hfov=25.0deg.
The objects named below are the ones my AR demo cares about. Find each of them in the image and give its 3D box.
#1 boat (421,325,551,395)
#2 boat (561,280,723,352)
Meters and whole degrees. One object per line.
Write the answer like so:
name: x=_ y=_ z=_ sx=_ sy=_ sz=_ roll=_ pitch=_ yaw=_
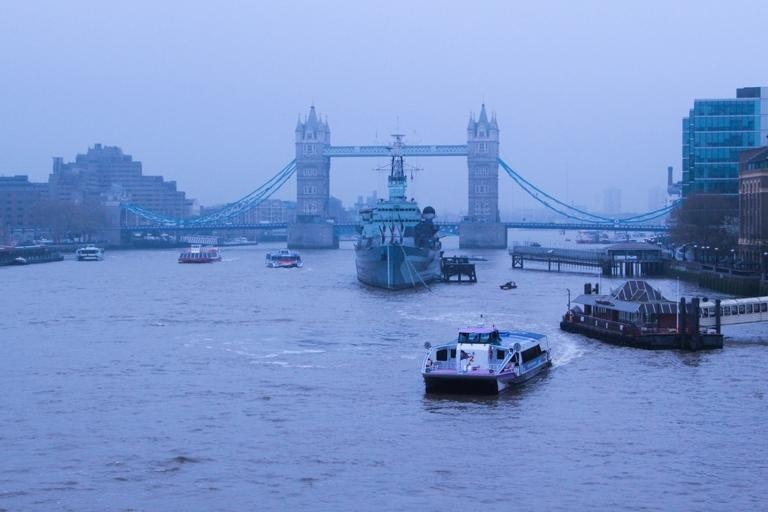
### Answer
boat: x=8.667 y=7.837 z=138.054 sx=7.927 sy=4.401 sz=14.800 roll=0 pitch=5 yaw=19
boat: x=21.362 y=4.837 z=146.067 sx=5.675 sy=5.609 sz=12.454 roll=-4 pitch=4 yaw=-38
